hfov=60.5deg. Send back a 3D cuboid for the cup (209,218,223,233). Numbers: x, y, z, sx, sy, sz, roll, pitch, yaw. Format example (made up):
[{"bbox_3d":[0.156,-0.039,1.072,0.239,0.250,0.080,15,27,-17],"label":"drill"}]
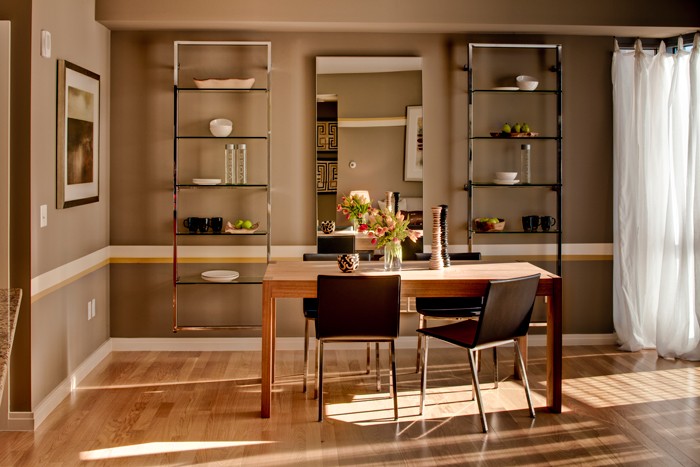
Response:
[{"bbox_3d":[-1.319,-0.079,5.901,0.110,0.150,0.151,-4,14,-14],"label":"cup"}]

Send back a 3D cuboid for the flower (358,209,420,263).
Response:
[{"bbox_3d":[0.328,0.018,5.017,0.503,0.476,0.227,1,14,6],"label":"flower"}]

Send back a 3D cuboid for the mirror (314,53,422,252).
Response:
[{"bbox_3d":[0.158,-0.760,6.134,1.248,2.267,0.031,4,24,13],"label":"mirror"}]

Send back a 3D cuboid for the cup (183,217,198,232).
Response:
[{"bbox_3d":[-1.570,-0.083,5.941,0.149,0.189,0.156,3,-2,0],"label":"cup"}]

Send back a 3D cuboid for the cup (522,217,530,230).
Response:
[{"bbox_3d":[1.770,-0.107,6.056,0.064,0.147,0.151,-1,14,-2],"label":"cup"}]

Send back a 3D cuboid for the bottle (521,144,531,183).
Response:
[{"bbox_3d":[1.774,-0.701,6.065,0.120,0.373,0.292,3,14,15],"label":"bottle"}]

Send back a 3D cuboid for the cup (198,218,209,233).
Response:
[{"bbox_3d":[-1.434,-0.076,5.862,0.100,0.144,0.082,-4,14,-14],"label":"cup"}]

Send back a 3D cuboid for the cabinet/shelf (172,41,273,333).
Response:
[{"bbox_3d":[-1.260,-0.839,5.985,0.964,2.431,0.356,-2,-16,0],"label":"cabinet/shelf"}]

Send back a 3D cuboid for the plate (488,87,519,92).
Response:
[{"bbox_3d":[1.558,-1.446,6.021,0.264,0.040,0.187,2,14,10],"label":"plate"}]

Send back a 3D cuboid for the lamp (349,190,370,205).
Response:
[{"bbox_3d":[0.092,-0.367,5.905,0.184,0.176,0.181,-3,7,-22],"label":"lamp"}]

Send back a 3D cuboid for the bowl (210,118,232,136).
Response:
[{"bbox_3d":[-1.278,-1.049,5.921,0.175,0.130,0.189,1,5,0],"label":"bowl"}]

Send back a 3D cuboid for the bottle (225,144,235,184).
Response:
[{"bbox_3d":[-1.186,-0.685,5.944,0.103,0.369,0.201,-3,14,-10],"label":"bottle"}]

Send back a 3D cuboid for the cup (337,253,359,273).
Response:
[{"bbox_3d":[-0.020,0.252,5.016,0.151,0.116,0.147,-1,-1,0],"label":"cup"}]

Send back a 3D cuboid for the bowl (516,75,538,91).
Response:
[{"bbox_3d":[1.787,-1.509,6.039,0.216,0.155,0.205,0,14,0],"label":"bowl"}]

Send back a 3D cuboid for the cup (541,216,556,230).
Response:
[{"bbox_3d":[1.983,-0.093,6.066,0.174,0.175,0.115,2,4,22],"label":"cup"}]

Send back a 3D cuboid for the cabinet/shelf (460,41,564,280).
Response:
[{"bbox_3d":[1.691,-0.185,6.453,1.253,3.477,0.393,-2,19,23],"label":"cabinet/shelf"}]

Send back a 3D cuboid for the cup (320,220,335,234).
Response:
[{"bbox_3d":[-0.229,-0.065,6.053,0.132,0.096,0.131,2,4,0],"label":"cup"}]

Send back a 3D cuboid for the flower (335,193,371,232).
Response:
[{"bbox_3d":[0.102,-0.163,5.192,0.336,0.328,0.344,5,22,4],"label":"flower"}]

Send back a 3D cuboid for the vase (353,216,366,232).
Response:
[{"bbox_3d":[0.074,-0.076,5.131,0.114,0.131,0.115,3,0,12],"label":"vase"}]
